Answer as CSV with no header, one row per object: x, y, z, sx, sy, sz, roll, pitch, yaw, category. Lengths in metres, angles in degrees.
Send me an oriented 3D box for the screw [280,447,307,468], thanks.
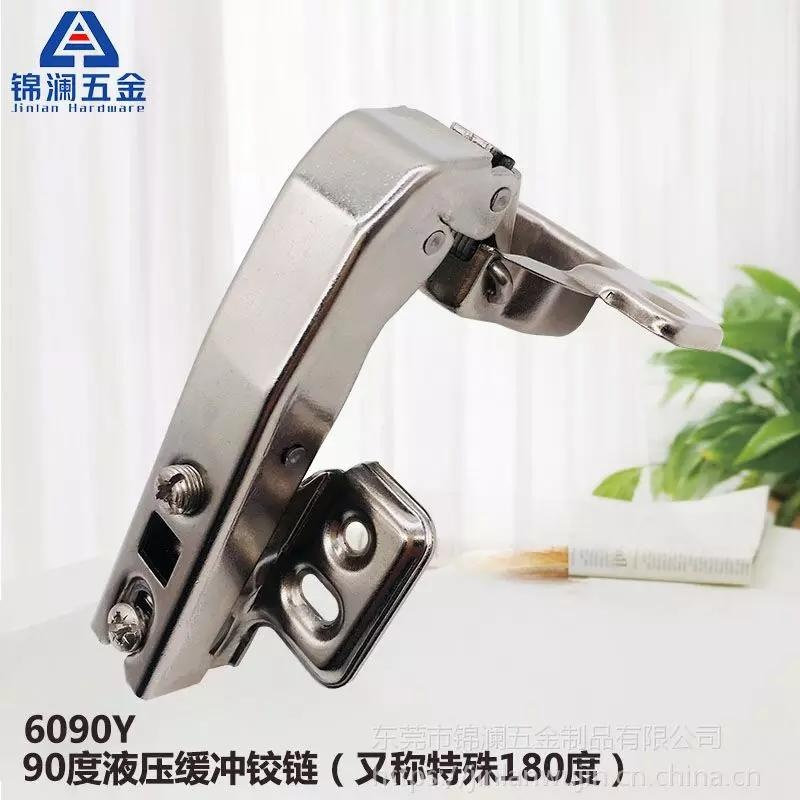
-0.078,0.040,0.695,0.006,0.016,0.013,36,-22,52,screw

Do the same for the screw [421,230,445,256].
0.025,-0.113,0.685,0.008,0.012,0.020,4,-6,33,screw

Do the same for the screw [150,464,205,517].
-0.159,0.060,0.699,0.031,0.035,0.030,-16,-46,27,screw

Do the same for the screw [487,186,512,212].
0.076,-0.152,0.728,0.004,0.018,0.017,27,27,29,screw
